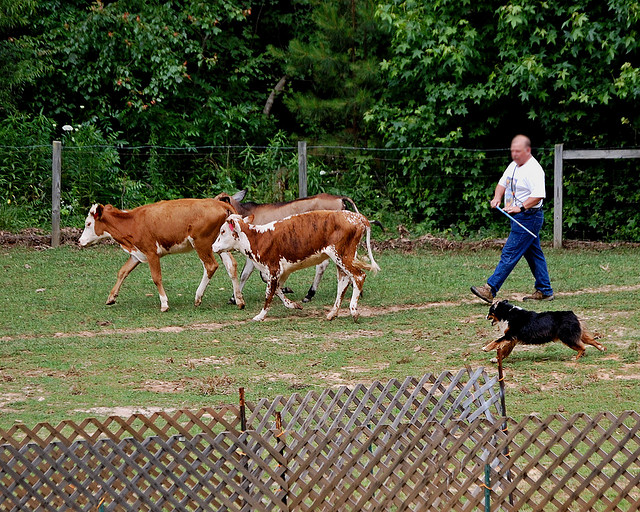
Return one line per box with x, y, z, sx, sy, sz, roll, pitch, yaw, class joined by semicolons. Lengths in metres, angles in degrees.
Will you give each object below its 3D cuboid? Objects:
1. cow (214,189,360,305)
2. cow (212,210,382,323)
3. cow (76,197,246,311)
-0.458;0.048;20.532;2.724;1.600;0.650;-7;13;-22;cow
-0.368;0.166;19.326;2.680;1.679;0.692;-2;-7;22;cow
-2.457;-0.060;20.018;2.524;1.674;0.689;-1;2;5;cow
